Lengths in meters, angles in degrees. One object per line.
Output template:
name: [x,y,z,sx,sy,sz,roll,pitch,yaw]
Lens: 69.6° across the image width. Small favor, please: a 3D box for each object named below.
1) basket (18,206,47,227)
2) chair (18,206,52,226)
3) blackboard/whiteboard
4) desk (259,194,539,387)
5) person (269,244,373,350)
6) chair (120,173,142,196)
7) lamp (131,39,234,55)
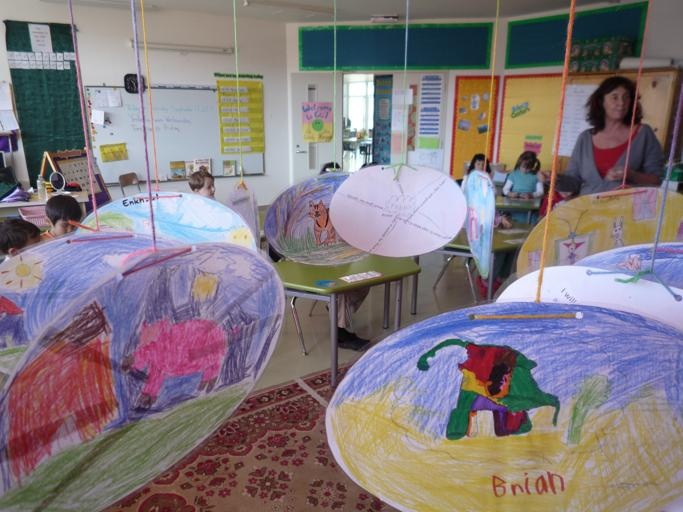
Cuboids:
basket: [-2.736,-0.354,4.348,0.238,0.139,0.340,-6,13,-35]
chair: [-2.726,-0.350,4.354,0.309,0.179,0.437,-7,15,-36]
blackboard/whiteboard: [-2.265,-1.624,6.659,2.066,1.308,0.274,-13,20,-32]
desk: [0.367,-0.011,3.851,2.347,1.336,1.149,-13,21,-32]
person: [-0.082,0.200,3.708,0.685,0.477,0.934,19,27,35]
chair: [-2.767,-0.922,6.401,0.254,0.321,0.623,-9,19,-23]
lamp: [-1.998,-2.776,6.563,1.159,0.142,0.122,-13,21,-31]
